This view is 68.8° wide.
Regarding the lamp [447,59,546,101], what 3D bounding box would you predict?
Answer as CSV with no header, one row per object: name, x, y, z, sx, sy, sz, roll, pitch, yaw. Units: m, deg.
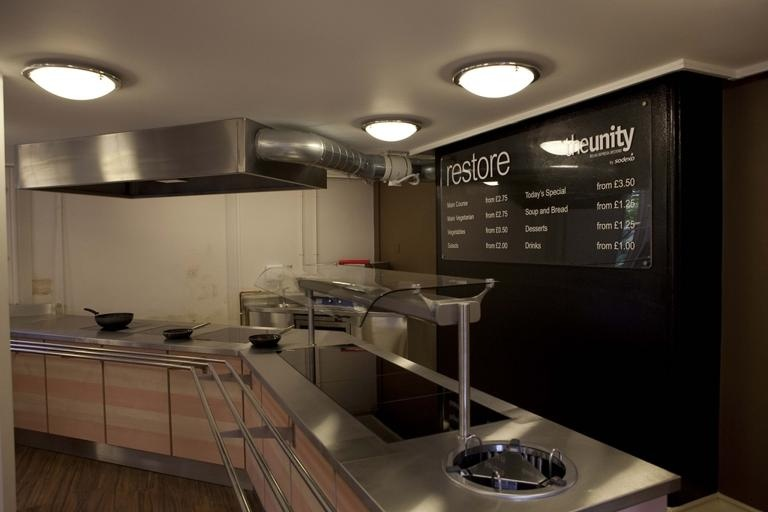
lamp,0.719,-1.087,3.597,0.585,0.121,0.549,1,-2,-5

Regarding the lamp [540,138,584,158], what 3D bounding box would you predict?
lamp,1.268,-0.774,4.026,0.047,0.136,0.345,-5,5,-29

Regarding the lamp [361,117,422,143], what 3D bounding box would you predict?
lamp,0.060,-1.009,4.454,0.462,0.131,0.256,-2,4,-1

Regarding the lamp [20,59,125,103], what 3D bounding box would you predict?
lamp,-1.980,-1.066,3.592,0.578,0.129,0.550,-2,-3,-13

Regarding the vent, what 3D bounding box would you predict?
vent,-1.728,-0.754,4.504,1.991,0.478,0.881,-1,4,14
